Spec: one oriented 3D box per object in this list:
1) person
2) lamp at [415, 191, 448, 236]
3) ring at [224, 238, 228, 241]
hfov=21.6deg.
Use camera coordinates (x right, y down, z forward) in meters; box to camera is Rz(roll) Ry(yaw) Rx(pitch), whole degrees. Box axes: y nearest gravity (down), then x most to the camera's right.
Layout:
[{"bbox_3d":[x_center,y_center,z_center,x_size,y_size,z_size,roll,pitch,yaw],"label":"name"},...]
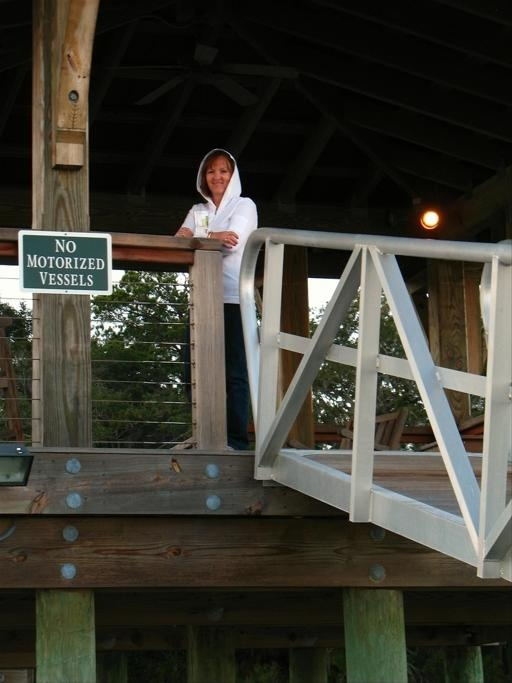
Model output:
[{"bbox_3d":[-0.155,-0.216,5.754,0.340,1.439,0.743,-1,-11,-3],"label":"person"},{"bbox_3d":[1.276,-0.916,9.569,0.137,0.148,0.255,-13,-15,-7],"label":"lamp"},{"bbox_3d":[-0.121,-0.425,5.635,0.005,0.014,0.018,5,23,8],"label":"ring"}]
